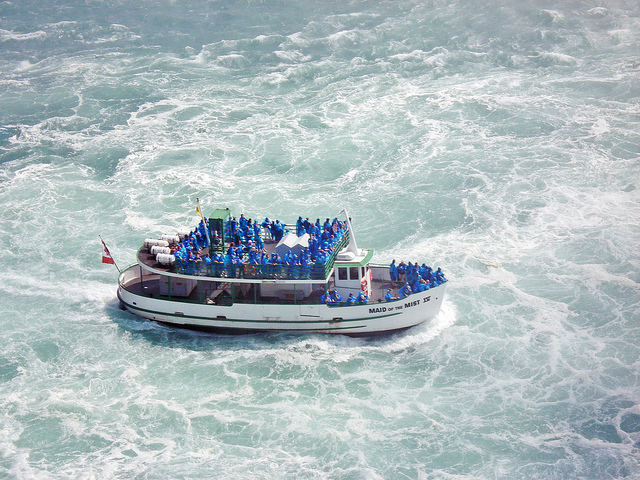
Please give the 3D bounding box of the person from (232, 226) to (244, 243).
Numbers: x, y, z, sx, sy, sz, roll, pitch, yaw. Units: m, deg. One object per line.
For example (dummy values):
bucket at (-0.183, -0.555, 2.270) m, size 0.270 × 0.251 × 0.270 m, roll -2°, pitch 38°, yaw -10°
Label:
person at (-7.892, -0.527, 101.307) m, size 1.718 × 1.214 × 0.658 m, roll 1°, pitch 8°, yaw -6°

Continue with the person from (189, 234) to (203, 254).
person at (-11.771, 0.411, 100.543) m, size 0.765 × 2.167 × 0.747 m, roll -32°, pitch -9°, yaw -21°

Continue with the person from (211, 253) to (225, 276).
person at (-9.465, 2.317, 98.267) m, size 1.129 × 1.756 × 1.299 m, roll -1°, pitch 23°, yaw -5°
